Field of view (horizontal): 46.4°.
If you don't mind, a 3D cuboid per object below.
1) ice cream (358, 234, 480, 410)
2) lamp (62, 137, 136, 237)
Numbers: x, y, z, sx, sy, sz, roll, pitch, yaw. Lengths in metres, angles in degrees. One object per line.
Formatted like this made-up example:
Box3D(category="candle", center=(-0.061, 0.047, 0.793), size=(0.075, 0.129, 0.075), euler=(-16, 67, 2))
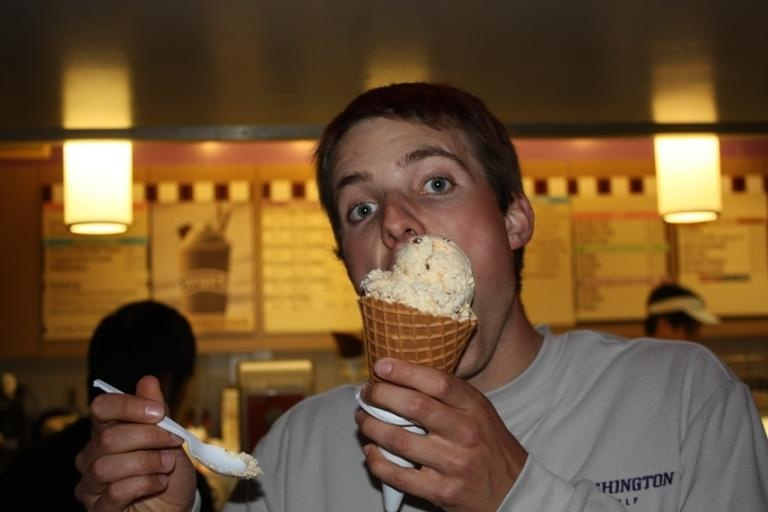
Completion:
Box3D(category="ice cream", center=(0.116, 0.257, 3.199), size=(0.395, 0.599, 0.443), euler=(17, 3, 30))
Box3D(category="lamp", center=(-1.258, -0.302, 3.734), size=(0.325, 0.330, 0.302), euler=(7, 15, 14))
